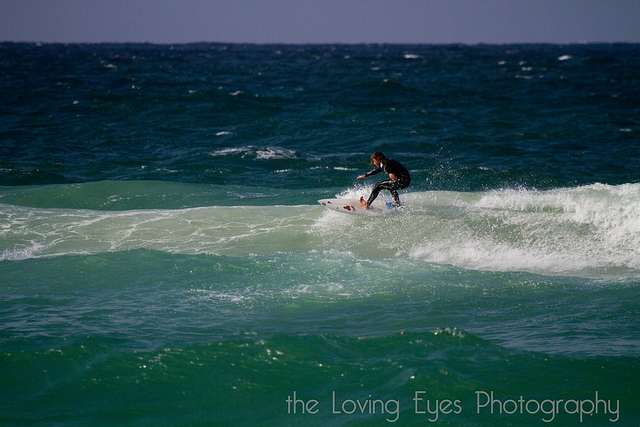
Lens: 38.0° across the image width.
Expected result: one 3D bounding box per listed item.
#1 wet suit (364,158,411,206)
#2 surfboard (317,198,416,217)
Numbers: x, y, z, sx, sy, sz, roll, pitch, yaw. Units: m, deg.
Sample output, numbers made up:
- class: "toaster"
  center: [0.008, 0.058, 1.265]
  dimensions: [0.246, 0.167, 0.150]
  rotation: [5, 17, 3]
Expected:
- class: "wet suit"
  center: [2.168, -0.974, 30.005]
  dimensions: [1.336, 1.560, 0.500]
  rotation: [-2, 19, 2]
- class: "surfboard"
  center: [1.354, -0.051, 30.395]
  dimensions: [3.436, 0.255, 0.859]
  rotation: [2, 25, 3]
